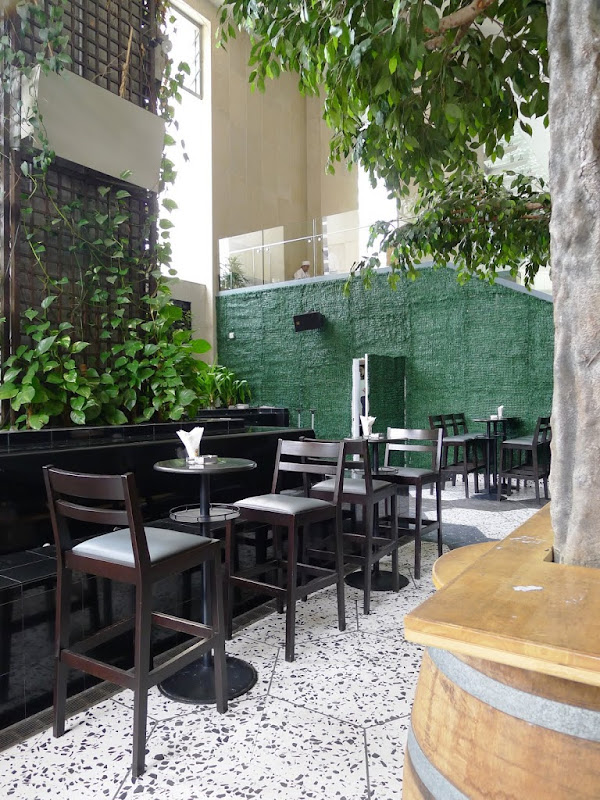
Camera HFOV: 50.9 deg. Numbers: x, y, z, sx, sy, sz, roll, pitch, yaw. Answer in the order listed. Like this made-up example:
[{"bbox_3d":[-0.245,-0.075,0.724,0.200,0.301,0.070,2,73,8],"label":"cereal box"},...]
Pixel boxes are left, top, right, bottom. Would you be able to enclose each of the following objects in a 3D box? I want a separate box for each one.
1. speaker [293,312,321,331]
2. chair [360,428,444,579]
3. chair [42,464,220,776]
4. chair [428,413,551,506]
[{"bbox_3d":[0.105,-1.150,9.406,0.423,0.242,0.289,-1,0,22],"label":"speaker"},{"bbox_3d":[0.569,0.584,3.750,0.443,0.848,0.416,5,1,33],"label":"chair"},{"bbox_3d":[-0.475,0.577,1.895,0.416,0.778,0.462,0,0,32],"label":"chair"},{"bbox_3d":[2.091,0.583,6.952,1.216,0.824,2.135,0,0,20],"label":"chair"}]
